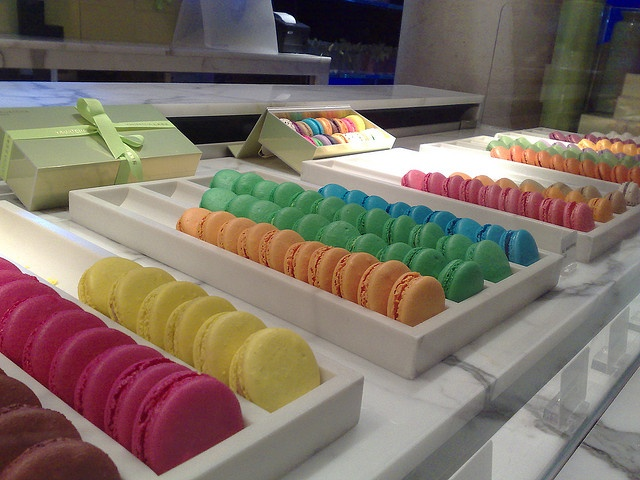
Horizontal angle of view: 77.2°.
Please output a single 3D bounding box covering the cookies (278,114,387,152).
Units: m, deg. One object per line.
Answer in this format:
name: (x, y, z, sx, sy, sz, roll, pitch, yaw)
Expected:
cookies: (0.049, -0.436, 1.581, 0.469, 0.107, 0.236, -23, 37, -39)
